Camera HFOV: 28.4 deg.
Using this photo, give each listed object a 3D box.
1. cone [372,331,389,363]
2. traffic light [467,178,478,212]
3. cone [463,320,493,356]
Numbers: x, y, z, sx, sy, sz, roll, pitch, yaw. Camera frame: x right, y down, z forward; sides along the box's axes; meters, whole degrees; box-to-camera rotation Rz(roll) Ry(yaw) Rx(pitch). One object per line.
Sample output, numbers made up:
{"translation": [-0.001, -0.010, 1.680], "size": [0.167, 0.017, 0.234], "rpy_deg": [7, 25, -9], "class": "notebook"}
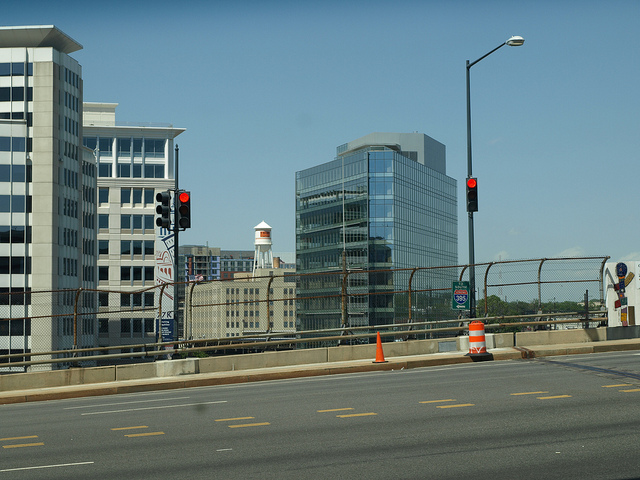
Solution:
{"translation": [2.490, 4.510, 53.068], "size": [0.603, 1.160, 1.109], "rpy_deg": [-3, 9, 2], "class": "cone"}
{"translation": [6.679, -1.979, 55.381], "size": [0.426, 1.485, 0.440], "rpy_deg": [-3, 8, -2], "class": "traffic light"}
{"translation": [6.686, 4.094, 52.894], "size": [1.079, 1.527, 0.890], "rpy_deg": [-3, 8, -4], "class": "cone"}
